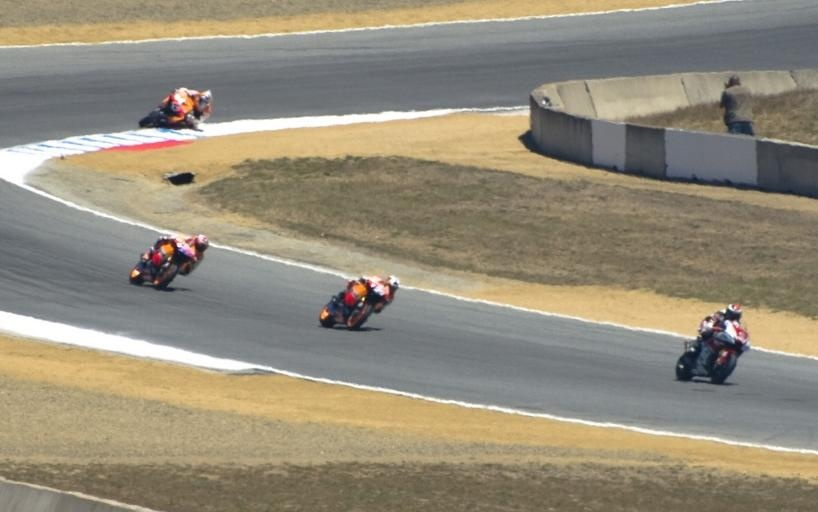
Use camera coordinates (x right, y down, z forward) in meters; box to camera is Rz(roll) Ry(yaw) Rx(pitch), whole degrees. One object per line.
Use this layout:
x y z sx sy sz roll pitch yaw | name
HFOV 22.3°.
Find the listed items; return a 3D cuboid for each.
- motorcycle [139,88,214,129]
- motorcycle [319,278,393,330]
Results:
-7.477 -4.727 66.750 1.410 1.088 2.214 21 -36 -28 | motorcycle
-1.382 1.276 57.701 1.269 1.837 3.446 40 -9 -12 | motorcycle
